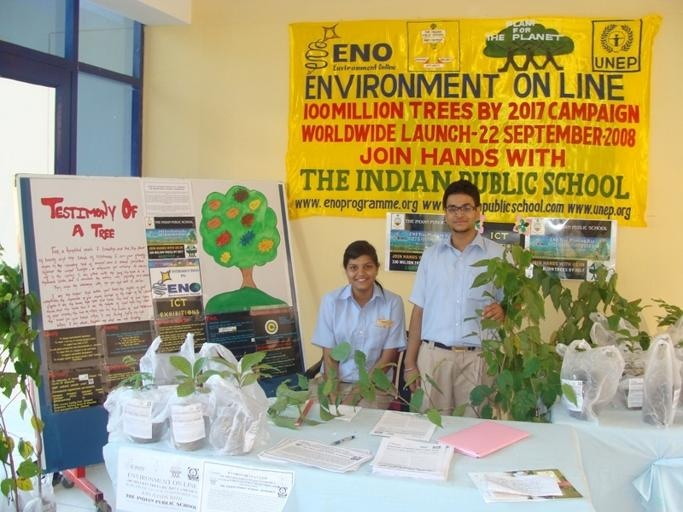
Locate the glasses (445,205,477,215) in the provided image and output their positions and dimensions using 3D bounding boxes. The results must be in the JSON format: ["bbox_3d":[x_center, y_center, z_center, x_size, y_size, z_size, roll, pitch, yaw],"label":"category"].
[{"bbox_3d":[0.687,-0.272,3.011,0.151,0.046,0.055,1,4,18],"label":"glasses"}]
